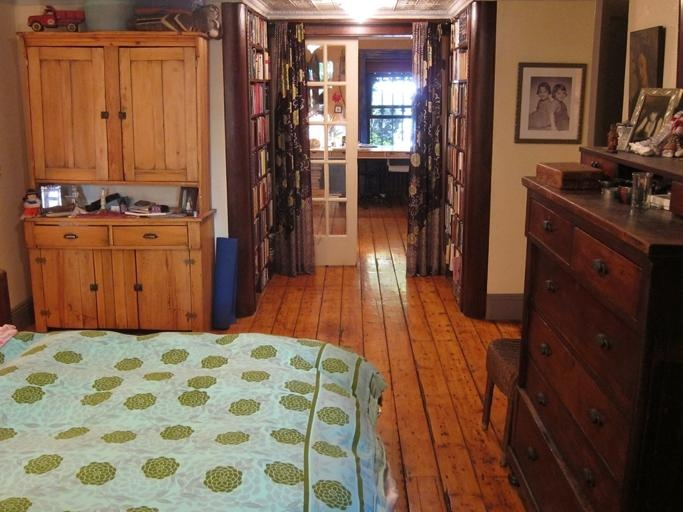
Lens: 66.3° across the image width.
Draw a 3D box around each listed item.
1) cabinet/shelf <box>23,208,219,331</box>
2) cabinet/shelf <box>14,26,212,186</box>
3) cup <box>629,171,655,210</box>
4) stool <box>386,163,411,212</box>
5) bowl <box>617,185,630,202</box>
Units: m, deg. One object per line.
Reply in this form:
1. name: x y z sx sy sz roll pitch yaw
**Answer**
1. cabinet/shelf: -2.055 0.247 4.727 1.415 1.014 0.474 1 -21 -39
2. cabinet/shelf: -1.931 -1.238 4.672 1.466 1.258 0.524 1 7 2
3. cup: 1.162 -0.253 2.050 0.087 0.142 0.092 -4 14 1
4. stool: 1.081 -1.438 10.078 0.399 0.799 0.597 0 17 4
5. bowl: 1.113 -0.245 2.089 0.059 0.063 0.063 -3 9 1
